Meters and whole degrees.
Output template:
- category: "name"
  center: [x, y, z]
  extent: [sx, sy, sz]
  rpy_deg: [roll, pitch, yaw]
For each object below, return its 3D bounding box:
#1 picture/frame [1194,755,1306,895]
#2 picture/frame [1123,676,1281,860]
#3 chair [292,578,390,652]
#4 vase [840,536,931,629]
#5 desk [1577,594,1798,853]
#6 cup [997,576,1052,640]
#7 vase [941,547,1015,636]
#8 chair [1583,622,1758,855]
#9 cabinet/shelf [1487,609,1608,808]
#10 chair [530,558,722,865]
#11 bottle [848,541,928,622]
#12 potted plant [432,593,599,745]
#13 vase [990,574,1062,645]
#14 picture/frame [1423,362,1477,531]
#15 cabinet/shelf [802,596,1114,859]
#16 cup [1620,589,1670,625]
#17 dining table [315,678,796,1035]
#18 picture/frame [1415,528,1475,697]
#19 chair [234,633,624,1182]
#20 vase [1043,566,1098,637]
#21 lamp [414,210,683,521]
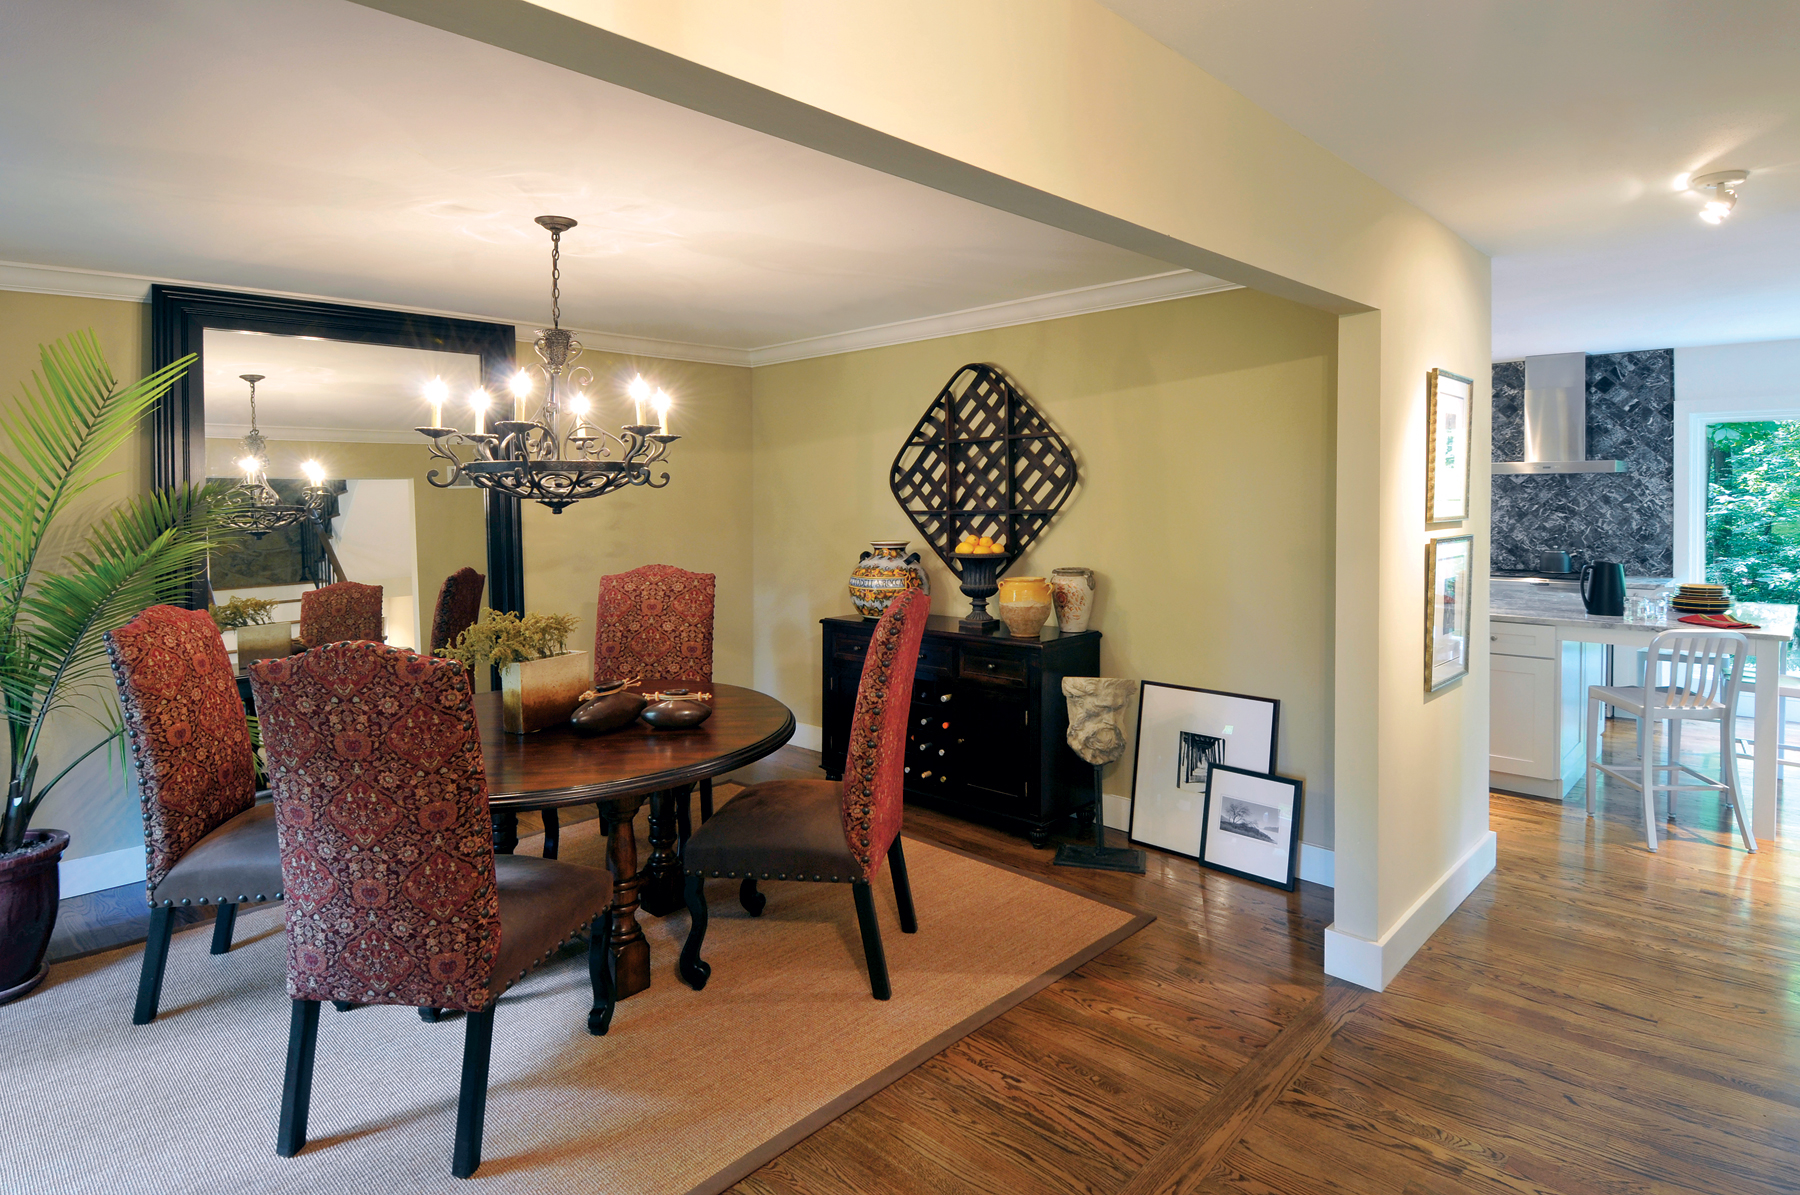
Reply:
- category: "picture/frame"
  center: [1.671, 1.071, 5.441]
  extent: [0.611, 0.717, 0.050]
  rpy_deg: [0, -8, 44]
- category: "picture/frame"
  center: [1.504, 0.826, 5.622]
  extent: [0.794, 0.967, 0.069]
  rpy_deg: [8, 6, 38]
- category: "chair"
  center: [-2.817, 0.074, 5.786]
  extent: [0.338, 0.584, 0.334]
  rpy_deg: [-1, 7, -32]
- category: "vase"
  center: [-0.058, -0.102, 6.468]
  extent: [0.437, 0.410, 0.431]
  rpy_deg: [2, -2, -24]
- category: "desk"
  center: [4.291, 0.627, 6.384]
  extent: [0.833, 1.061, 1.886]
  rpy_deg: [2, 6, 31]
- category: "cup"
  center: [0.664, 0.056, 5.937]
  extent: [0.289, 0.276, 0.293]
  rpy_deg: [4, 0, 0]
- category: "vase"
  center: [0.430, -0.038, 6.268]
  extent: [0.327, 0.377, 0.326]
  rpy_deg: [7, -11, -22]
- category: "chair"
  center: [4.098, 0.707, 6.034]
  extent: [0.611, 1.073, 0.693]
  rpy_deg: [0, -1, 6]
- category: "cabinet/shelf"
  center: [3.584, 0.583, 6.661]
  extent: [0.572, 1.006, 0.714]
  rpy_deg: [-1, 4, 41]
- category: "chair"
  center: [-1.240, 0.466, 5.437]
  extent: [0.843, 1.267, 0.895]
  rpy_deg: [-4, -3, 29]
- category: "bottle"
  center: [-0.043, -0.100, 6.567]
  extent: [0.422, 0.405, 0.427]
  rpy_deg: [3, 10, 17]
- category: "potted plant"
  center: [-1.461, 0.273, 4.869]
  extent: [0.393, 0.431, 0.394]
  rpy_deg: [-17, 4, -3]
- category: "vase"
  center: [0.632, 0.038, 6.025]
  extent: [0.303, 0.288, 0.313]
  rpy_deg: [4, 1, 44]
- category: "picture/frame"
  center: [2.351, -0.659, 4.959]
  extent: [0.064, 0.968, 0.754]
  rpy_deg: [0, 2, 37]
- category: "cabinet/shelf"
  center: [0.271, 0.634, 6.357]
  extent: [1.409, 1.006, 0.547]
  rpy_deg: [6, 12, 31]
- category: "cup"
  center: [4.105, 0.052, 6.381]
  extent: [0.113, 0.151, 0.209]
  rpy_deg: [-1, -1, 44]
- category: "dining table"
  center: [-0.877, 1.003, 5.004]
  extent: [1.708, 0.949, 1.803]
  rpy_deg: [7, 11, 44]
- category: "picture/frame"
  center: [2.331, 0.049, 4.966]
  extent: [0.053, 0.765, 0.683]
  rpy_deg: [1, 6, 41]
- category: "chair"
  center: [-1.578, 0.998, 3.940]
  extent: [1.072, 1.758, 0.561]
  rpy_deg: [-4, 7, -28]
- category: "vase"
  center: [0.871, 0.007, 6.031]
  extent: [0.306, 0.343, 0.304]
  rpy_deg: [0, 1, -10]
- category: "lamp"
  center: [-1.483, -1.004, 5.008]
  extent: [1.105, 1.247, 1.037]
  rpy_deg: [-4, 10, -43]
